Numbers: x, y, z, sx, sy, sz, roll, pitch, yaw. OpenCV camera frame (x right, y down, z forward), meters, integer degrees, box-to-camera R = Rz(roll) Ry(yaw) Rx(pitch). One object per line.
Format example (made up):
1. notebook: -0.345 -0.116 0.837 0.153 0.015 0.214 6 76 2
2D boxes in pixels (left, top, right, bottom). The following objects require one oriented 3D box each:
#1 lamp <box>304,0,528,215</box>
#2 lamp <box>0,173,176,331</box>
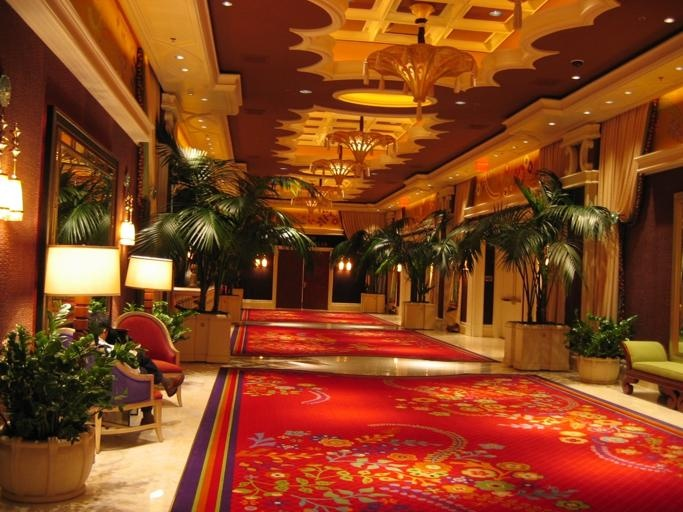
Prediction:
1. lamp: 1.104 -2.820 7.577 2.487 1.668 2.240 1 -3 -2
2. lamp: -2.104 0.155 3.927 0.825 0.992 0.748 1 -3 6
